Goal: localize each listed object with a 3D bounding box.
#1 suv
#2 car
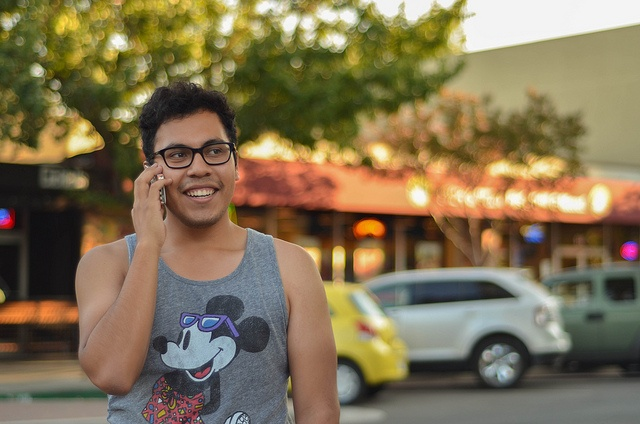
[{"bbox_3d":[1.367,1.031,7.252,1.212,1.120,3.133,-1,-1,0],"label":"suv"},{"bbox_3d":[0.238,1.566,8.866,1.688,0.928,1.036,0,-7,5],"label":"car"}]
